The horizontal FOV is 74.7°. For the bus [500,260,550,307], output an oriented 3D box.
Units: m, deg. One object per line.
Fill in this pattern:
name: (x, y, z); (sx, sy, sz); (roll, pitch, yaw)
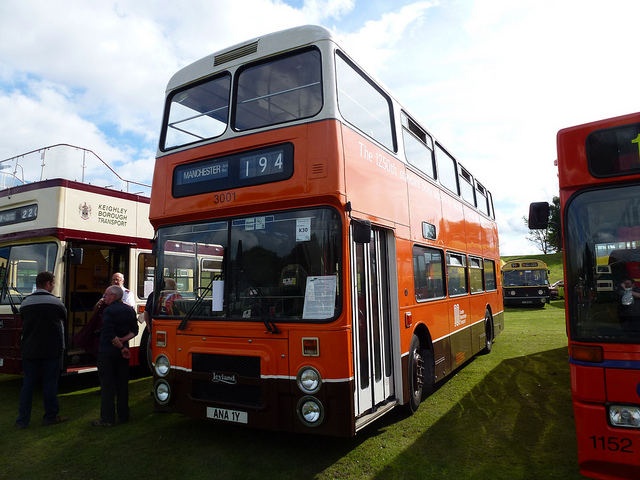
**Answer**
bus: (16.266, 4.255, 32.622); (3.240, 3.510, 7.207); (-4, -21, 29)

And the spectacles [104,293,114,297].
spectacles: (-3.708, 0.961, 7.357); (0.298, 0.049, 0.073); (-5, -6, 43)

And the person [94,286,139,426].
person: (-3.473, 1.980, 7.178); (0.609, 2.355, 0.457); (2, -6, -30)
